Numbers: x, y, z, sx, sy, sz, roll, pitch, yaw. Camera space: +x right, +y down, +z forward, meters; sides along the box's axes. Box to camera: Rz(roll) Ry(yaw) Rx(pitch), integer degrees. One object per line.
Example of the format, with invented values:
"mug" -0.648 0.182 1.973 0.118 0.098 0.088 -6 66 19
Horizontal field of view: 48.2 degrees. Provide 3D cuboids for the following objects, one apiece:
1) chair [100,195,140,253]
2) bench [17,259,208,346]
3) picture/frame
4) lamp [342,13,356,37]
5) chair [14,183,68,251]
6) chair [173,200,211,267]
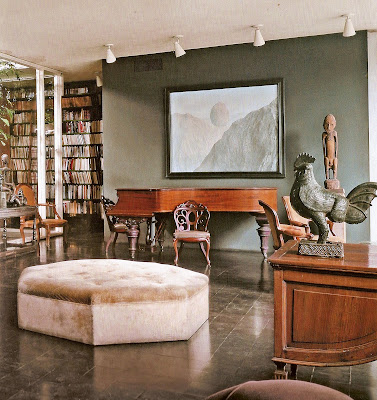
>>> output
"chair" -0.979 0.336 6.016 0.490 0.702 0.437 1 12 0
"bench" -0.575 0.718 3.011 1.288 0.382 0.790 1 3 15
"picture/frame" 0.609 -1.069 6.252 1.602 1.226 0.065 0 0 14
"lamp" 1.953 -2.112 5.171 0.125 0.229 0.300 2 4 22
"chair" -2.304 0.229 6.644 0.693 0.923 0.660 3 3 26
"chair" 0.023 0.427 5.354 0.539 0.728 0.557 -1 5 -23
